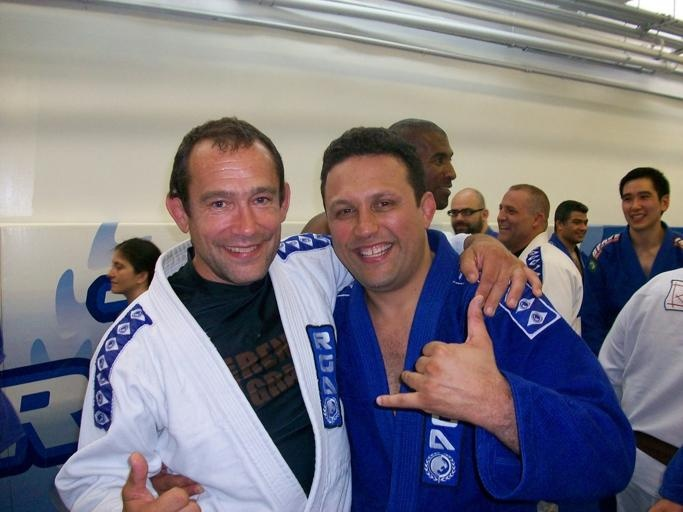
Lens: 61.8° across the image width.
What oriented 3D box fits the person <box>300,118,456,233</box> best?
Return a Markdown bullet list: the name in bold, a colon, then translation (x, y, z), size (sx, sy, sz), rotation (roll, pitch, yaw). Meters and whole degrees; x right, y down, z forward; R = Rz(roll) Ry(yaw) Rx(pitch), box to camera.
- **person**: translation (0.320, -0.580, 4.017), size (0.956, 0.959, 0.722), rotation (-5, 8, -23)
